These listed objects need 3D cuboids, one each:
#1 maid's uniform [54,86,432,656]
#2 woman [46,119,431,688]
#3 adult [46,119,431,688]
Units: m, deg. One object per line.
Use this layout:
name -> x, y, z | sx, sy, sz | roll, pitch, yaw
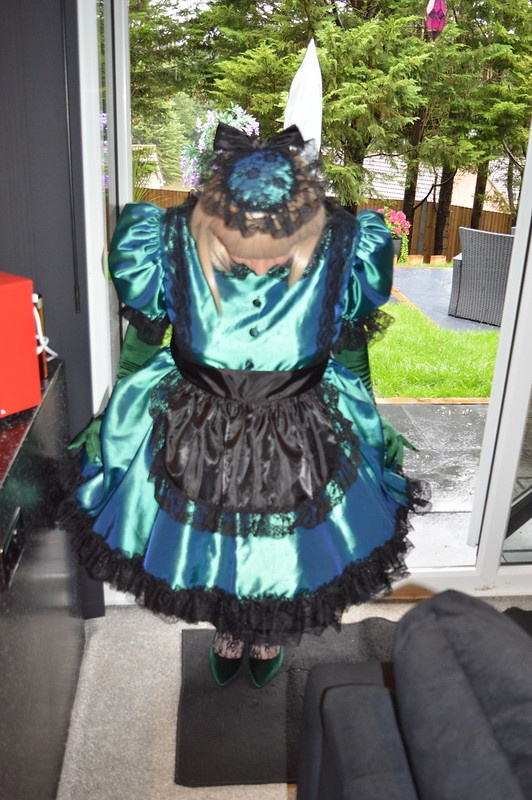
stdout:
maid's uniform -> -0.012, -0.024, 1.163 | 0.783, 0.909, 0.469 | -3, 28, -10
woman -> -0.074, 0.077, 1.319 | 0.769, 1.118, 0.528 | 0, 25, -2
adult -> -0.041, 0.065, 1.313 | 0.812, 1.150, 0.535 | 1, 27, 0
